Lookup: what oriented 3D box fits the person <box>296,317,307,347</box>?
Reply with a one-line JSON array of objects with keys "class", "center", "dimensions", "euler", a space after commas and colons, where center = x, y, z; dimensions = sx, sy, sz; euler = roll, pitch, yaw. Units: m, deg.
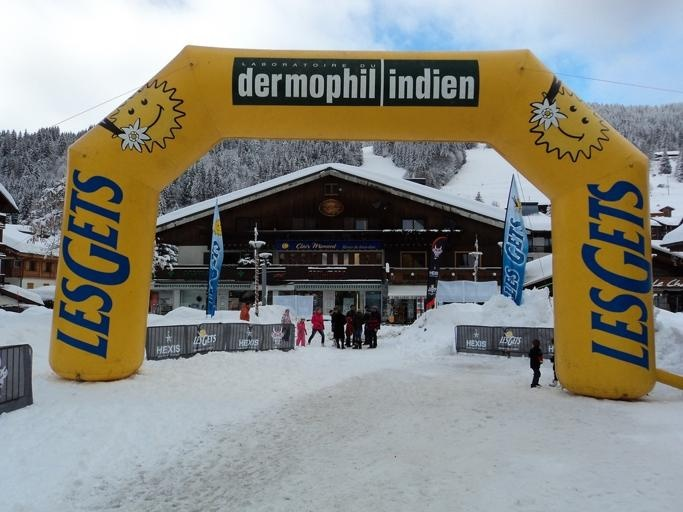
[{"class": "person", "center": [-1.685, 3.178, 24.166], "dimensions": [0.385, 1.109, 1.081], "euler": [-1, 3, -5]}]

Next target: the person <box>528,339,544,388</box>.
[{"class": "person", "center": [5.069, 2.764, 15.285], "dimensions": [0.292, 1.174, 1.637], "euler": [0, 3, 18]}]

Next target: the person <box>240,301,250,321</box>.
[{"class": "person", "center": [-4.517, 2.696, 27.433], "dimensions": [0.332, 0.864, 1.311], "euler": [-1, 3, -15]}]
